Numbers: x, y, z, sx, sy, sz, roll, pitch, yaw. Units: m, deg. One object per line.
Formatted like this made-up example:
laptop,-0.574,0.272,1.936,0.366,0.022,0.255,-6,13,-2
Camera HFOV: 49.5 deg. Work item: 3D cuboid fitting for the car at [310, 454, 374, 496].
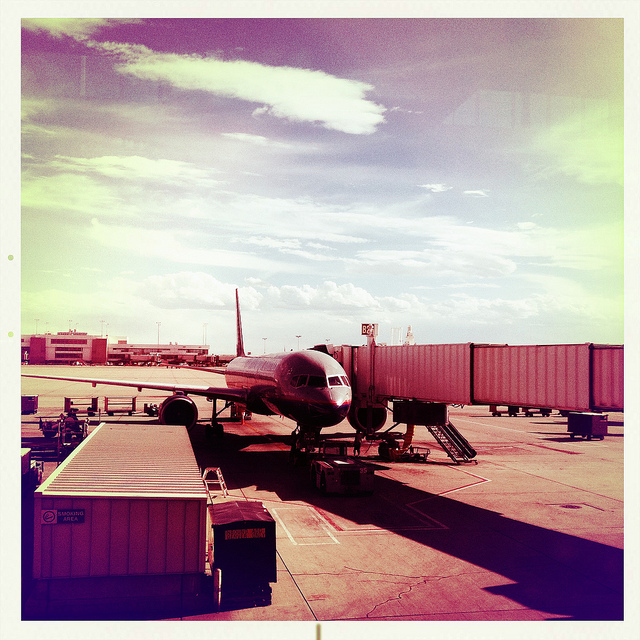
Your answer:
car,0.762,6.106,27.197,1.988,1.148,2.264,-1,-1,-11

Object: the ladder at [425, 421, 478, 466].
ladder,6.746,6.060,36.110,1.274,1.291,4.747,8,30,-19
